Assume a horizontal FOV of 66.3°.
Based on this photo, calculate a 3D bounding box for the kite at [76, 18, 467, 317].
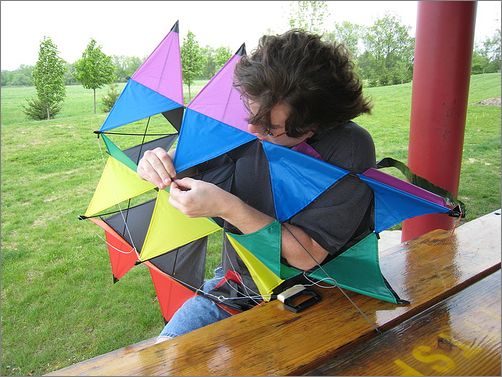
[{"bbox_3d":[0.250,0.222,2.679,1.786,2.059,0.961,-30,-28,24],"label":"kite"}]
